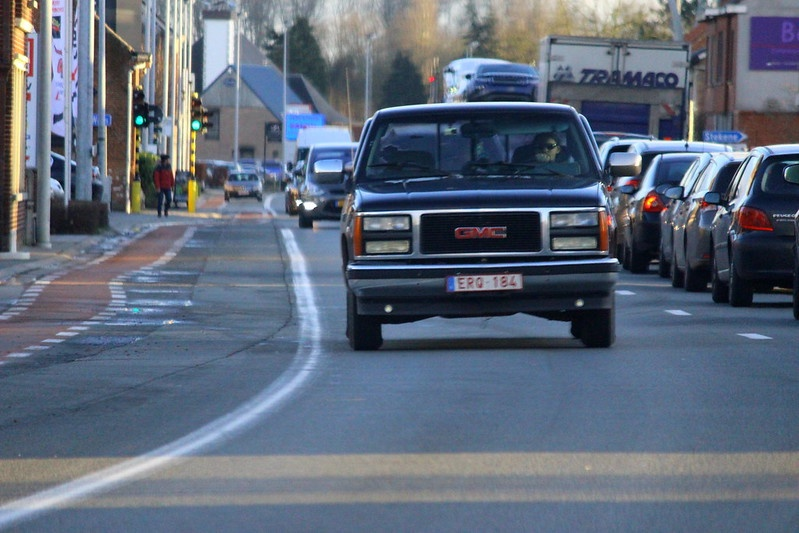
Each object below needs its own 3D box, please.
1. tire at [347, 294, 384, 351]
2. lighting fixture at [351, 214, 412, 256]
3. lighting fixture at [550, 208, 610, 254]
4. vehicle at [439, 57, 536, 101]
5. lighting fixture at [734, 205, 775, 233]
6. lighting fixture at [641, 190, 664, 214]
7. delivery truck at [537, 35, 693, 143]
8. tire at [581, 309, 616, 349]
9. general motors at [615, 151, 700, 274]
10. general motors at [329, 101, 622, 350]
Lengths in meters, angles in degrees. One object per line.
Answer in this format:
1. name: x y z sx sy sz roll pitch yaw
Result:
1. tire: -0.316 0.564 13.350 0.187 0.516 0.524 -3 11 -8
2. lighting fixture: -0.144 -0.269 13.028 0.438 0.271 0.443 0 -1 -35
3. lighting fixture: 1.729 -0.328 12.982 0.457 0.280 0.451 0 2 -1
4. vehicle: 3.203 -6.496 47.778 1.770 1.378 4.164 1 8 -9
5. lighting fixture: 4.488 -0.577 17.056 0.365 0.183 0.509 2 1 -1
6. lighting fixture: 4.298 -1.077 22.920 0.169 0.360 0.417 -5 8 -36
7. delivery truck: 5.710 -4.934 36.742 4.607 3.304 2.633 1 1 -1
8. tire: 1.881 0.638 13.656 0.433 0.403 0.314 0 4 -33
9. general motors: 4.983 -1.101 24.933 1.883 1.853 4.458 1 7 -1
10. general motors: 0.808 -0.722 15.225 2.840 2.331 5.014 -1 8 4
